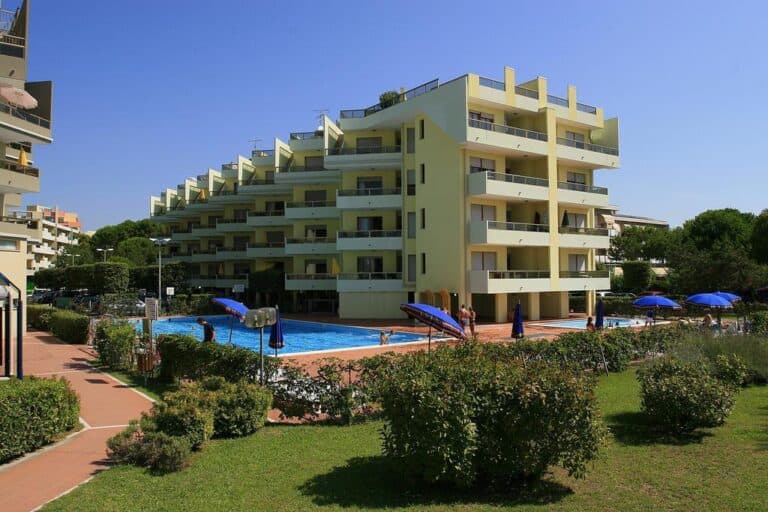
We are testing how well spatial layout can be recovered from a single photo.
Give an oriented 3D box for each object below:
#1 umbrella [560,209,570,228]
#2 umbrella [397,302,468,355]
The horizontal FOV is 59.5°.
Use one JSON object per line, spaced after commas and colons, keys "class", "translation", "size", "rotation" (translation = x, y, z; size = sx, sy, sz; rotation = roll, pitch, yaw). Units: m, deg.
{"class": "umbrella", "translation": [15.101, -3.155, 55.916], "size": [0.662, 1.804, 2.296], "rotation": [1, -8, 17]}
{"class": "umbrella", "translation": [2.928, 3.327, 33.387], "size": [2.641, 2.765, 2.680], "rotation": [27, 2, 42]}
